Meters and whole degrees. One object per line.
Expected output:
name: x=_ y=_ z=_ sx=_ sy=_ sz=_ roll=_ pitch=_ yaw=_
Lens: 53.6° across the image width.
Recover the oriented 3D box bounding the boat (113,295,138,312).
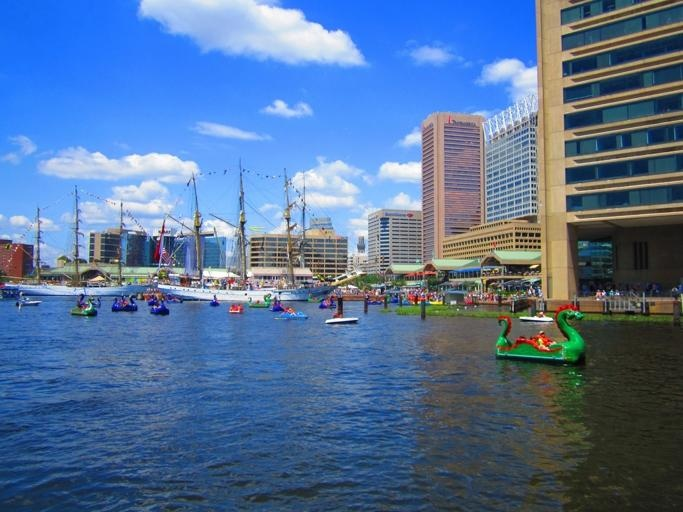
boat: x=-38.267 y=8.218 z=119.763 sx=4.785 sy=2.701 sz=3.090 roll=-1 pitch=3 yaw=-23

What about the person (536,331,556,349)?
person: x=12.877 y=5.300 z=43.205 sx=1.183 sy=0.702 sz=1.532 roll=12 pitch=-10 yaw=-1

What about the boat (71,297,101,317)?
boat: x=-38.162 y=7.505 z=101.422 sx=3.498 sy=2.570 sz=5.819 roll=2 pitch=-7 yaw=-35
